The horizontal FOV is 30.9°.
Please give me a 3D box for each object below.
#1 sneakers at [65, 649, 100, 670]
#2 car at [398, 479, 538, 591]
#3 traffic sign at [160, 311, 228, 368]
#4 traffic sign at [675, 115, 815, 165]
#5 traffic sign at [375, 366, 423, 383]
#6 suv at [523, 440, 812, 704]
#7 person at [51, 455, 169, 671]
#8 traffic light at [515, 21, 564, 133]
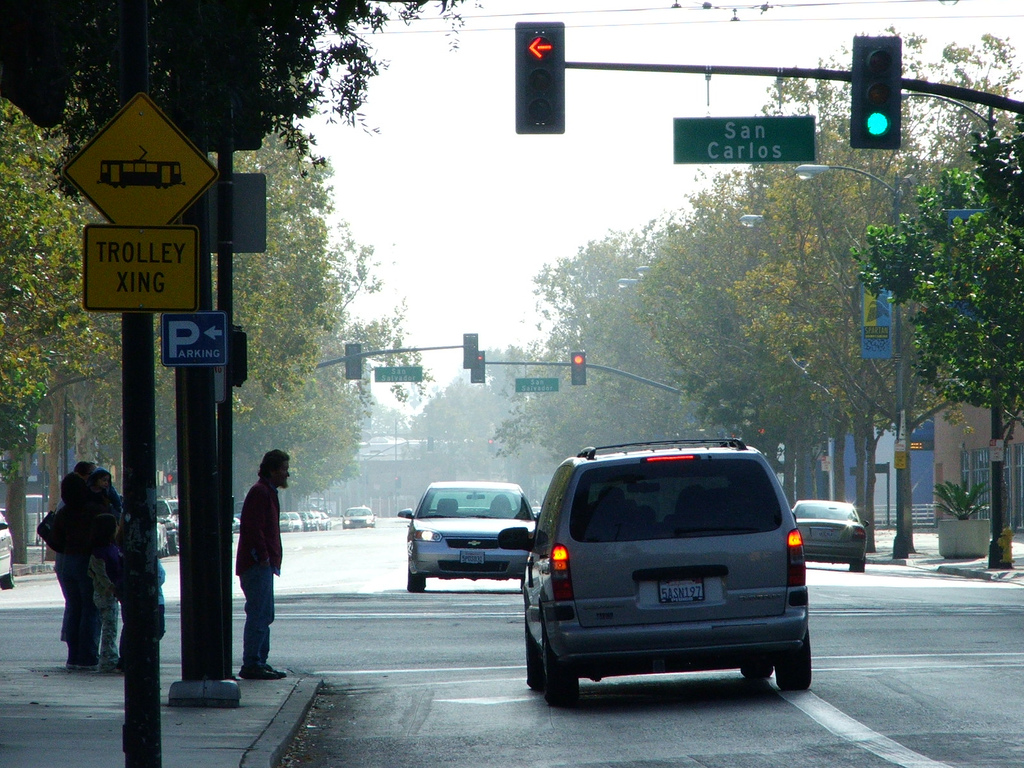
[{"bbox_3d":[-4.880,3.134,20.981,0.321,0.309,0.185,1,-2,5],"label":"sneakers"},{"bbox_3d":[-0.774,2.576,30.415,2.021,1.799,2.779,-1,-1,-2],"label":"car"},{"bbox_3d":[-2.980,-0.430,17.348,0.483,0.448,0.070,1,-12,-12],"label":"traffic sign"},{"bbox_3d":[3.466,-3.722,28.046,2.100,0.802,0.047,0,-19,3],"label":"traffic sign"},{"bbox_3d":[-4.484,-0.400,74.087,1.426,0.702,2.762,-1,-1,20],"label":"traffic sign"},{"bbox_3d":[1.490,1.728,17.733,1.796,1.623,3.124,-2,2,-4],"label":"suv"},{"bbox_3d":[-4.890,2.093,21.153,0.765,2.299,1.421,-1,0,-15],"label":"person"},{"bbox_3d":[0.375,-4.087,24.468,0.641,1.462,0.276,-1,0,8],"label":"traffic light"}]
